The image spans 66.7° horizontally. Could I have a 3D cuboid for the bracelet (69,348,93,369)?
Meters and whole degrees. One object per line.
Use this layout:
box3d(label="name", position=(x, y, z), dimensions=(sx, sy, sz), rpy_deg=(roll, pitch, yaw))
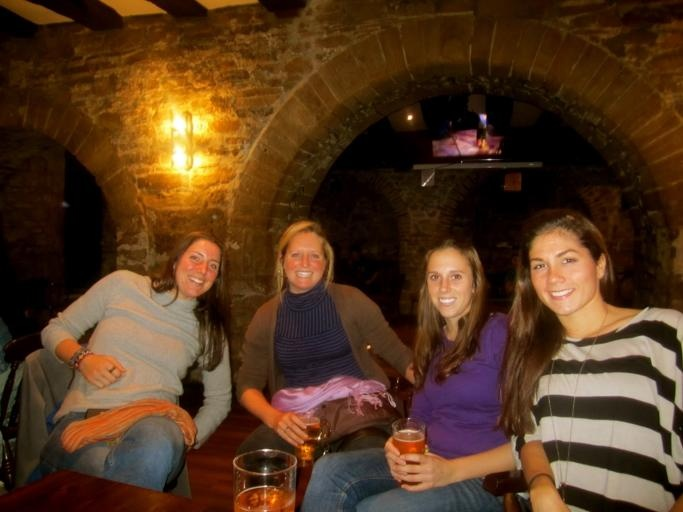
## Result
box3d(label="bracelet", position=(-1.413, 0.553, 2.812), dimensions=(0.093, 0.107, 0.039), rpy_deg=(18, -8, 12))

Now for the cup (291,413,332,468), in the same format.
box3d(label="cup", position=(-0.142, 0.938, 2.629), dimensions=(0.186, 0.205, 0.216), rpy_deg=(0, -3, 5))

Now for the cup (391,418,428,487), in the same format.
box3d(label="cup", position=(0.307, 0.837, 2.399), dimensions=(0.144, 0.148, 0.143), rpy_deg=(0, -8, 0))

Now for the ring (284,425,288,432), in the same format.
box3d(label="ring", position=(-0.282, 0.882, 2.659), dimensions=(0.006, 0.021, 0.039), rpy_deg=(9, -14, -43))

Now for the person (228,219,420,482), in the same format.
box3d(label="person", position=(-0.140, 0.545, 3.317), dimensions=(1.317, 1.619, 1.189), rpy_deg=(-2, -9, 0))

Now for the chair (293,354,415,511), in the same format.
box3d(label="chair", position=(0.076, 0.930, 2.963), dimensions=(0.618, 0.877, 0.696), rpy_deg=(2, -5, -4))

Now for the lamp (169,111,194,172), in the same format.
box3d(label="lamp", position=(-1.502, -1.075, 4.886), dimensions=(0.228, 0.526, 0.148), rpy_deg=(-1, -10, 6))

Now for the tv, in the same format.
box3d(label="tv", position=(1.836, -1.764, 7.660), dimensions=(1.037, 0.447, 0.734), rpy_deg=(-2, -11, 9))
